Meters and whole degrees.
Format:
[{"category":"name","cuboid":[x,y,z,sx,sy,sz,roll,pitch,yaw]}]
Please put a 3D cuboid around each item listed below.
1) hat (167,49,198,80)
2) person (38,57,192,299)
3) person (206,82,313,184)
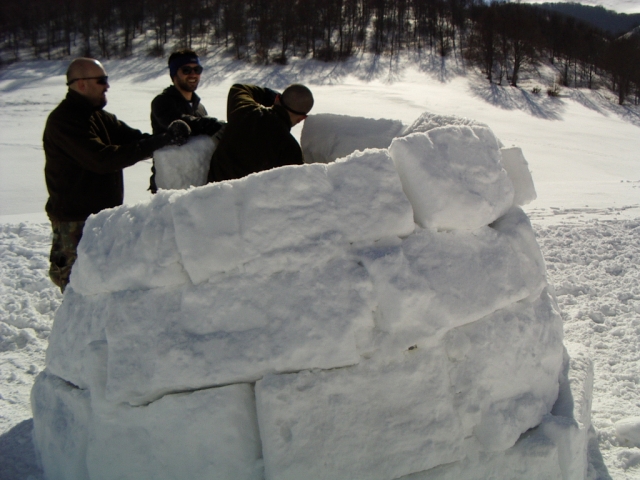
[{"category":"hat","cuboid":[-1.447,-1.829,8.167,0.270,0.239,0.293,-12,18,37]},{"category":"person","cuboid":[-2.216,-0.349,8.036,1.310,2.751,0.962,0,21,-29]},{"category":"person","cuboid":[-0.585,-1.013,7.590,0.852,0.972,0.581,5,3,34]}]
